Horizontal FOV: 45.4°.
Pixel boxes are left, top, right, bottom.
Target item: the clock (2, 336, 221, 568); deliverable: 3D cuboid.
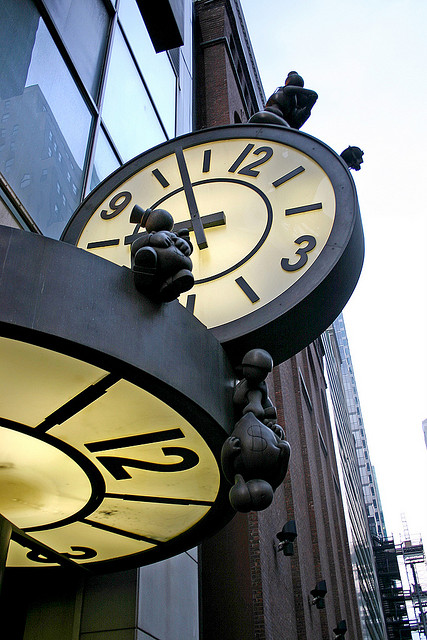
[{"bbox_3d":[-0.657,0.850,3.287,1.500,0.337,1.536,26,-36,-17],"label":"clock"}]
